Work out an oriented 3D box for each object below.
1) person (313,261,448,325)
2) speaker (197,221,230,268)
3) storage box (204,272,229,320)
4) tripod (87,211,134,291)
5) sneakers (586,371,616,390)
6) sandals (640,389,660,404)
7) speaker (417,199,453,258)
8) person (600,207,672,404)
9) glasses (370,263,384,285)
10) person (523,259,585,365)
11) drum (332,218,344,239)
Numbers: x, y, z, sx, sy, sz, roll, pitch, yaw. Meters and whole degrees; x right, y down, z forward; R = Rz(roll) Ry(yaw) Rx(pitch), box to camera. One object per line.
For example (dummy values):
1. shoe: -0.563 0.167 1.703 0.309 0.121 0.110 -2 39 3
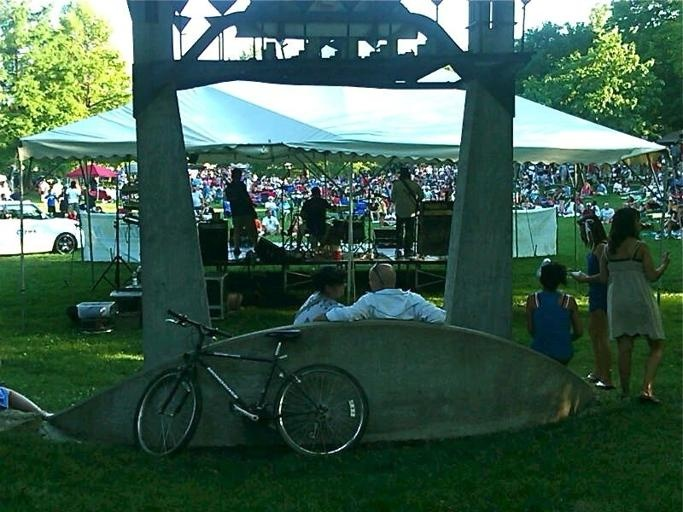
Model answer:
1. person: 0.474 0.414 9.258 1.502 0.695 0.505 0 8 -14
2. speaker: -2.099 -0.193 14.726 0.614 0.933 0.624 1 8 -1
3. storage box: -1.895 0.610 13.448 0.373 0.690 0.722 0 0 0
4. tripod: -5.114 -0.117 19.696 1.366 1.637 1.421 0 -2 -38
5. sneakers: 3.075 1.451 10.397 0.118 0.145 0.327 1 13 -27
6. sandals: 3.477 1.551 9.750 0.296 0.132 0.097 7 -4 -37
7. speaker: 1.687 -0.490 15.615 0.587 1.011 0.325 2 11 5
8. person: 3.246 0.533 9.759 0.727 2.101 0.384 5 11 19
9. glasses: 0.365 0.155 9.179 0.142 0.185 0.185 -9 -42 6
10. person: 2.393 0.641 9.762 0.606 1.144 0.464 3 11 13
11. drum: -0.025 -0.504 16.264 0.281 0.330 0.286 3 -3 -14
